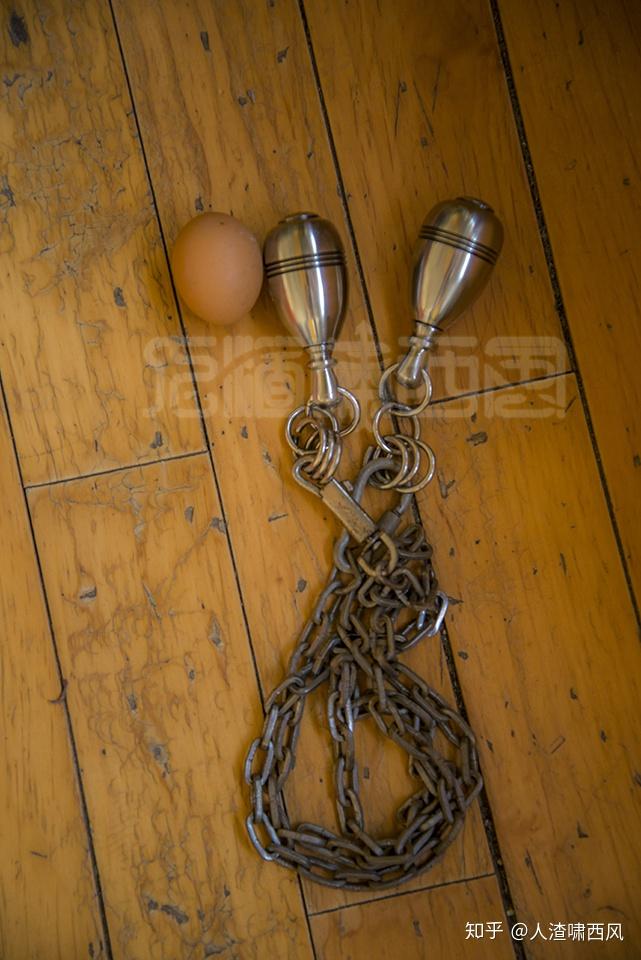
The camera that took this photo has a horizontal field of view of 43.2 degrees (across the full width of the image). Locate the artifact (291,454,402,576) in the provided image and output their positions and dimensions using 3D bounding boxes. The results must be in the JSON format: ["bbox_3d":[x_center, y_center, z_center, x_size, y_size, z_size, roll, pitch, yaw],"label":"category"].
[{"bbox_3d":[0.025,0.032,0.722,0.100,0.100,0.037,7,18,29],"label":"artifact"}]

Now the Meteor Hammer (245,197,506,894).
[{"bbox_3d":[0.043,0.063,0.707,0.216,0.570,0.178,2,15,14],"label":"Meteor Hammer"}]
